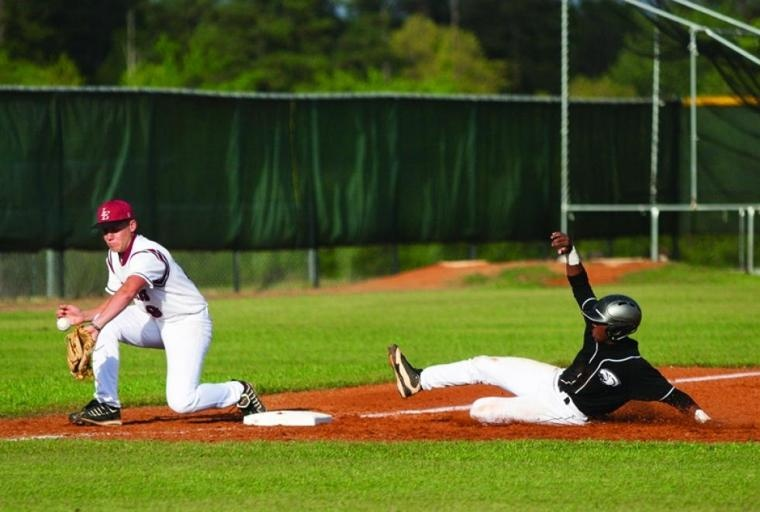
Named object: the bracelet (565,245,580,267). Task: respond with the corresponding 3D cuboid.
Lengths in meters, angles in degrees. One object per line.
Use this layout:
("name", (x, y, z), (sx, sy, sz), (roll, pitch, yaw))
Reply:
("bracelet", (2.604, 0.003, 22.010), (0.171, 0.237, 0.232), (-1, -4, -2))

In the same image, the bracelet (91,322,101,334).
("bracelet", (-3.751, 0.922, 21.282), (0.108, 0.043, 0.097), (10, -12, 44))

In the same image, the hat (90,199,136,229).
("hat", (-3.578, -0.590, 21.798), (0.557, 0.324, 0.404), (-13, 6, -42))

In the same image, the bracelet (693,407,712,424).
("bracelet", (4.275, 2.110, 21.658), (0.161, 0.253, 0.090), (-50, 10, -33))

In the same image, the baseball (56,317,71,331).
("baseball", (-4.177, 0.878, 21.323), (0.172, 0.180, 0.086), (14, -5, 2))
